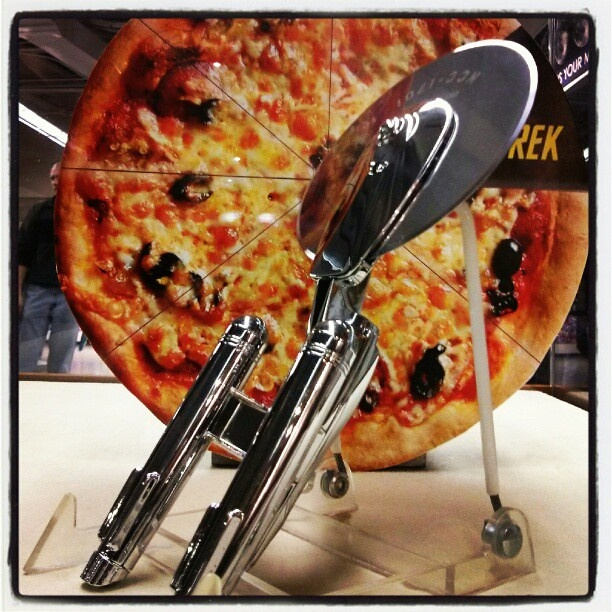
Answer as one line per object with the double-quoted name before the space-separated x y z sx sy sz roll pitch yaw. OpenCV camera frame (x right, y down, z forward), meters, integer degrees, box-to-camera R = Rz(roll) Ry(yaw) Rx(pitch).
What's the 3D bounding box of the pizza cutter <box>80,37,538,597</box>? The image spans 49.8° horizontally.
"pizza cutter" 0.006 -0.038 1.199 0.697 1.182 0.512 -3 6 -30
